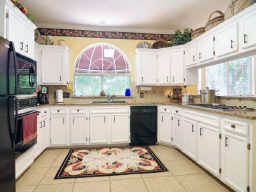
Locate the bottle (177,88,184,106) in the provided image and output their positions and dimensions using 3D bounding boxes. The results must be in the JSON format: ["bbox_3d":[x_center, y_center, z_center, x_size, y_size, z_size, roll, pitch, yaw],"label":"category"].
[{"bbox_3d":[1.392,0.010,5.166,0.128,0.338,0.560,2,9,14],"label":"bottle"}]

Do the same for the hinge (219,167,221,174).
[{"bbox_3d":[1.484,1.198,3.089,0.011,0.108,0.044,-3,9,-20],"label":"hinge"}]

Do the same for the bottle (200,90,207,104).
[{"bbox_3d":[1.650,0.018,4.164,0.033,0.296,0.146,-6,10,-32],"label":"bottle"}]

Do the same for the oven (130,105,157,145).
[{"bbox_3d":[0.390,0.717,4.771,0.655,0.974,0.229,0,9,0],"label":"oven"}]

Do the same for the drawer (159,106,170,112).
[{"bbox_3d":[0.913,0.312,4.721,0.156,0.158,0.043,0,0,33],"label":"drawer"}]

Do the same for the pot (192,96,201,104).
[{"bbox_3d":[1.699,0.103,4.734,0.130,0.172,0.244,-1,1,-12],"label":"pot"}]

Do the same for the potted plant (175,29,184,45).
[{"bbox_3d":[1.291,-1.456,4.798,0.236,0.361,0.137,4,10,24],"label":"potted plant"}]

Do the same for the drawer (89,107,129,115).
[{"bbox_3d":[-0.452,0.358,4.651,0.944,0.196,0.044,-1,9,-7],"label":"drawer"}]

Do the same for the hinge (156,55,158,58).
[{"bbox_3d":[0.772,-1.049,5.023,0.037,0.070,0.038,1,-1,-4],"label":"hinge"}]
